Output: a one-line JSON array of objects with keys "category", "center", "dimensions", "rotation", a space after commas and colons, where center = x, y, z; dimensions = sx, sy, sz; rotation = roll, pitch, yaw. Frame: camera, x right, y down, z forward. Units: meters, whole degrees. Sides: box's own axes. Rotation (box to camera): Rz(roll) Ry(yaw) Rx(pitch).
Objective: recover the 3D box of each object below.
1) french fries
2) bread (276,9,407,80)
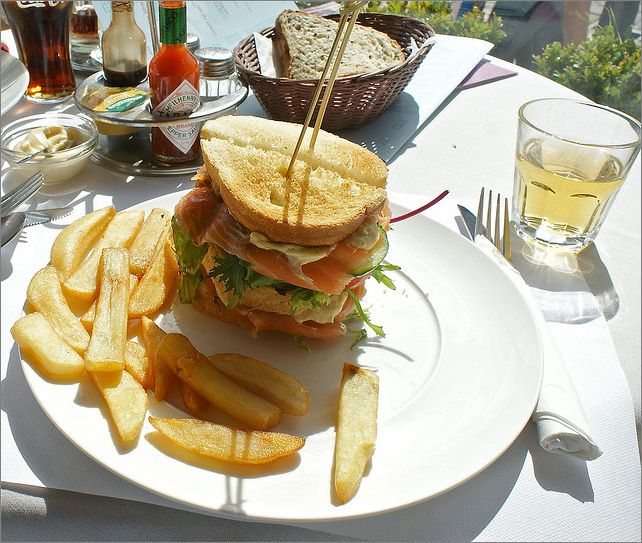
[{"category": "french fries", "center": [-0.297, 0.255, 1.219], "dimensions": [0.703, 0.130, 0.746], "rotation": [10, 35, -9]}, {"category": "bread", "center": [0.062, -1.018, 2.420], "dimensions": [0.574, 0.146, 0.548], "rotation": [8, 37, -8]}]
